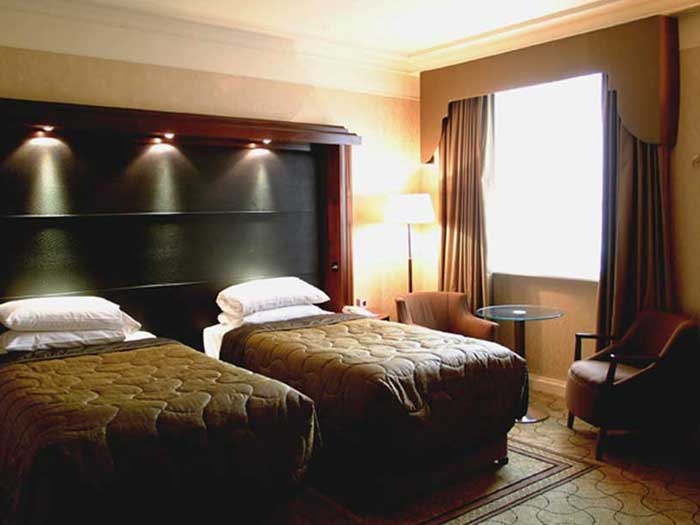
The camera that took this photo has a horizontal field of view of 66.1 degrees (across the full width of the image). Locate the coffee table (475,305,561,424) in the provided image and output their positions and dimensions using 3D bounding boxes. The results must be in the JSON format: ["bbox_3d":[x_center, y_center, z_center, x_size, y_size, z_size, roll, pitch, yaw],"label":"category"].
[{"bbox_3d":[1.641,0.988,5.366,1.047,1.105,1.017,0,3,31],"label":"coffee table"}]
